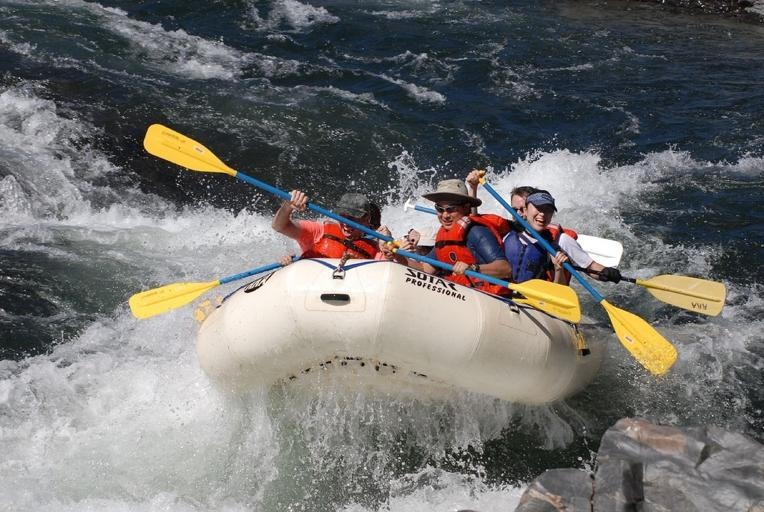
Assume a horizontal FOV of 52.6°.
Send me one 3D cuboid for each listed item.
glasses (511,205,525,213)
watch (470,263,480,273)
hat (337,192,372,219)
[{"bbox_3d":[1.839,-0.645,10.744,0.102,0.129,0.037,-4,51,38],"label":"glasses"},{"bbox_3d":[1.116,0.144,9.721,0.116,0.099,0.074,9,28,-49],"label":"watch"},{"bbox_3d":[-0.398,-0.646,9.726,0.409,0.228,0.306,3,49,-2],"label":"hat"}]
